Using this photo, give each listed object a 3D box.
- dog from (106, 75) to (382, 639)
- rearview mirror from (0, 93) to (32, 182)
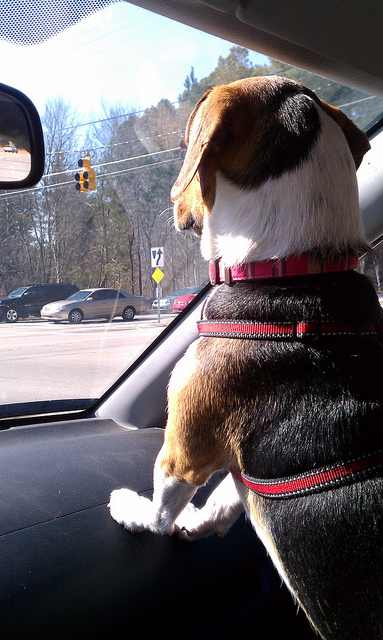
[{"bbox_3d":[0.283,0.023,1.601,0.463,1.790,0.890,-7,6,-42],"label":"dog"},{"bbox_3d":[-0.689,-0.693,1.897,0.123,0.299,0.200,-5,5,-23],"label":"rearview mirror"}]
